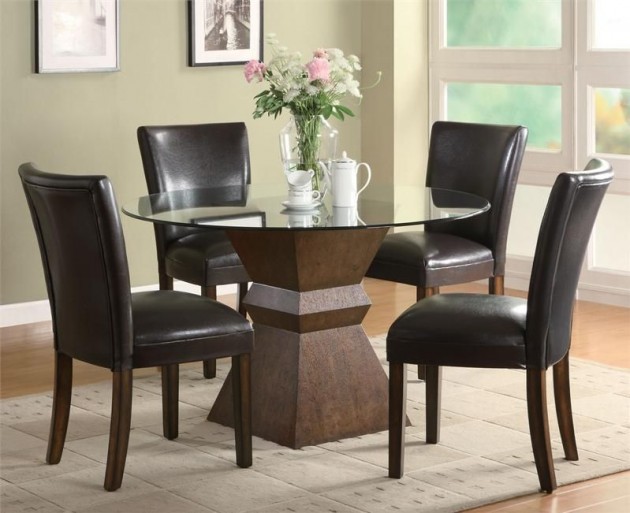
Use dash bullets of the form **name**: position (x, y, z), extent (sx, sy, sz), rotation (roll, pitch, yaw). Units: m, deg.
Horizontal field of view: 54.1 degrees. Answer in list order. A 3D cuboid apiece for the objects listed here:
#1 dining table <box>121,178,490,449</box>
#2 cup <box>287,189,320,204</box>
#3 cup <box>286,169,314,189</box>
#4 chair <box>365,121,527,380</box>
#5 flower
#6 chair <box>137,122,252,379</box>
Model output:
- **dining table**: position (-0.122, 0.207, 2.350), extent (1.052, 0.647, 1.076), rotation (5, 7, 44)
- **cup**: position (-0.039, -0.216, 2.238), extent (0.088, 0.034, 0.055), rotation (0, 3, -21)
- **cup**: position (-0.059, -0.282, 2.261), extent (0.100, 0.078, 0.082), rotation (2, 7, 16)
- **chair**: position (0.588, -0.099, 2.993), extent (0.682, 0.985, 0.603), rotation (-10, 17, -22)
- **flower**: position (-0.047, -0.532, 2.384), extent (0.491, 0.542, 0.457), rotation (-7, 13, -42)
- **chair**: position (-0.451, -0.104, 3.044), extent (0.762, 1.064, 0.707), rotation (10, 16, 33)
